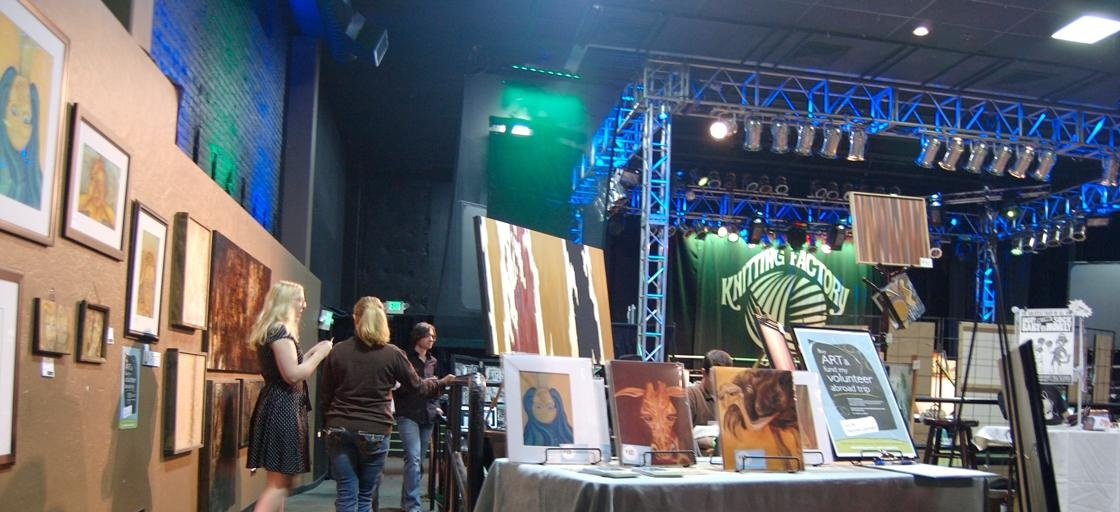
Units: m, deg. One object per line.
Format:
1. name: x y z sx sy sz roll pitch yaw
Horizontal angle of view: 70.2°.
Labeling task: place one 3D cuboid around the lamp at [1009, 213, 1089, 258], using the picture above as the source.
1. lamp: 11.654 -0.542 18.993 0.533 0.544 1.747 3 -13 -16

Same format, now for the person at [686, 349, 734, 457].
1. person: 1.916 1.787 10.047 0.555 1.348 1.937 -4 -13 10

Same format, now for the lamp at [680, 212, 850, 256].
1. lamp: 4.861 -0.866 19.673 4.049 0.686 0.569 -2 -15 18

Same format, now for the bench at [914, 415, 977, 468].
1. bench: 5.832 2.877 11.909 0.960 0.789 0.845 4 -4 2

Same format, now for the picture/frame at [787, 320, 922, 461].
1. picture/frame: 3.210 1.478 8.715 1.262 1.457 0.143 2 -15 -14

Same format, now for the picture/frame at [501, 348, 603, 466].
1. picture/frame: -0.111 1.621 8.403 1.406 1.135 0.169 13 -28 -42
